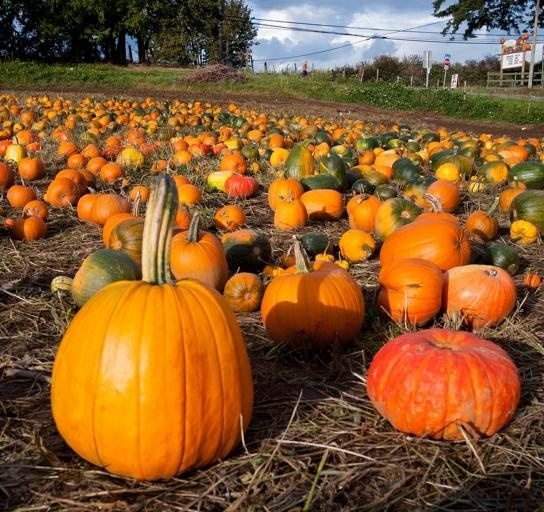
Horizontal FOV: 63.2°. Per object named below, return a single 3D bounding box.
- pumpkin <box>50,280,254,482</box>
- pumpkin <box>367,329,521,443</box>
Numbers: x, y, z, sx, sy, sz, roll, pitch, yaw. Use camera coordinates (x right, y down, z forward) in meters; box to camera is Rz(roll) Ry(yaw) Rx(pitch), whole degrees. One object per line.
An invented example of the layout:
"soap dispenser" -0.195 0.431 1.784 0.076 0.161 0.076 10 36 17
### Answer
"pumpkin" -0.482 0.574 2.406 1.089 0.750 0.938 2 0 -3
"pumpkin" 0.884 0.649 2.461 0.742 0.315 0.595 -3 19 -4
